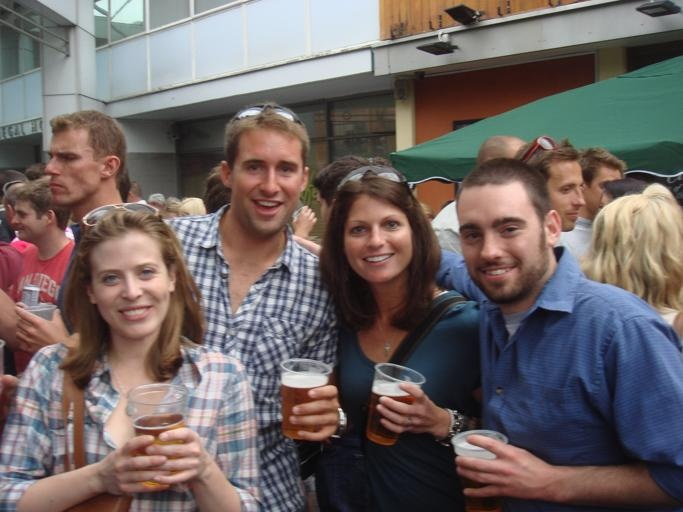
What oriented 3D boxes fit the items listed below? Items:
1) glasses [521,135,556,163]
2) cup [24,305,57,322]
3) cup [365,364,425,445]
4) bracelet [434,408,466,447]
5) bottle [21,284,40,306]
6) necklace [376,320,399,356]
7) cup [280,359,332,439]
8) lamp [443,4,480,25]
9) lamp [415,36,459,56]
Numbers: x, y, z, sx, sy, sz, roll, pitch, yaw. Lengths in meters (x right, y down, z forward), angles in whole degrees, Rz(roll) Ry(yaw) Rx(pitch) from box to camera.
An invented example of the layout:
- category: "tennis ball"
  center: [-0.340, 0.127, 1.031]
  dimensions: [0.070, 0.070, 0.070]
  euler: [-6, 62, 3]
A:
- category: "glasses"
  center: [1.448, -0.806, 4.890]
  dimensions: [0.212, 0.069, 0.215]
  euler: [-38, 1, 26]
- category: "cup"
  center: [-1.709, 0.299, 3.731]
  dimensions: [0.182, 0.110, 0.097]
  euler: [-1, 9, -41]
- category: "cup"
  center: [0.252, 0.746, 3.281]
  dimensions: [0.272, 0.405, 0.177]
  euler: [-2, 2, 37]
- category: "bracelet"
  center: [0.503, 0.887, 3.400]
  dimensions: [0.230, 0.204, 0.158]
  euler: [-4, -18, 25]
- category: "bottle"
  center: [-1.779, 0.224, 3.827]
  dimensions: [0.146, 0.128, 0.130]
  euler: [10, -3, -19]
- category: "necklace"
  center: [0.263, 0.470, 3.684]
  dimensions: [0.124, 0.015, 0.331]
  euler: [-3, 19, 9]
- category: "cup"
  center: [-0.181, 0.713, 3.303]
  dimensions: [0.265, 0.390, 0.208]
  euler: [-3, 2, -2]
- category: "lamp"
  center: [1.706, -3.439, 9.219]
  dimensions: [0.321, 0.138, 0.532]
  euler: [-7, -1, 43]
- category: "lamp"
  center: [1.405, -3.132, 9.744]
  dimensions: [0.519, 0.148, 0.436]
  euler: [-3, 1, -45]
